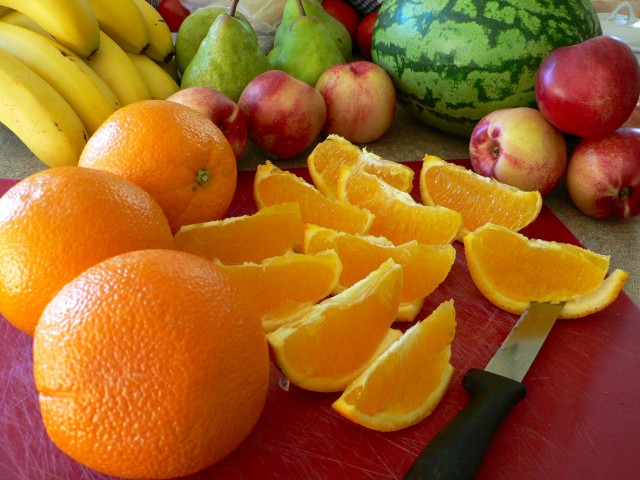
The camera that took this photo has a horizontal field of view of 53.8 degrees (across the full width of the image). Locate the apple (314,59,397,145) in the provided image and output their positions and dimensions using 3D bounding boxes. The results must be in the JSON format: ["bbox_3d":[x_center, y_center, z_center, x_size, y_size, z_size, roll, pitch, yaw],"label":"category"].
[{"bbox_3d":[0.104,-0.351,1.593,0.181,0.203,0.202,-23,35,-5],"label":"apple"}]

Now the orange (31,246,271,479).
[{"bbox_3d":[-0.225,0.163,0.845,0.297,0.150,0.261,3,58,6],"label":"orange"}]

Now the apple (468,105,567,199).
[{"bbox_3d":[0.416,-0.175,1.421,0.163,0.186,0.205,-19,81,-16],"label":"apple"}]

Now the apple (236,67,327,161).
[{"bbox_3d":[-0.086,-0.260,1.524,0.223,0.227,0.242,-9,39,-11],"label":"apple"}]
